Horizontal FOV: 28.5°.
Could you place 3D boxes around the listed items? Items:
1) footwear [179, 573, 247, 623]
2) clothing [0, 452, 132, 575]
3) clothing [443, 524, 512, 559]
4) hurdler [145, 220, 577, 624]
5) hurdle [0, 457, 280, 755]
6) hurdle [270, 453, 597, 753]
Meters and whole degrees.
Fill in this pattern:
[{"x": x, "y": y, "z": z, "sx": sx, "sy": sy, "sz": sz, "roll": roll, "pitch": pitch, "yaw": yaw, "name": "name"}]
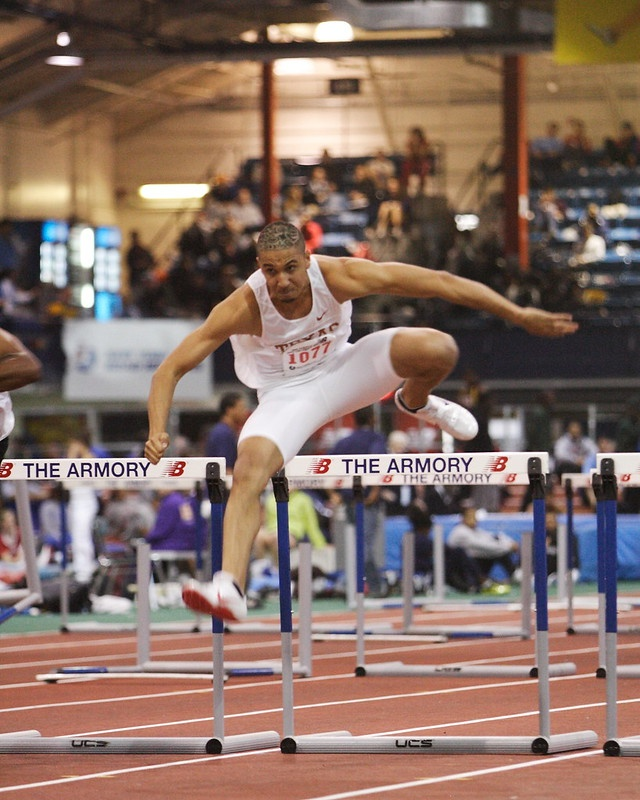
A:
[{"x": -0.344, "y": 0.643, "z": 4.151, "sx": 0.208, "sy": 0.148, "sz": 0.231, "roll": 3, "pitch": -12, "yaw": -6, "name": "footwear"}, {"x": -1.813, "y": 0.893, "z": 9.245, "sx": 1.617, "sy": 0.864, "sz": 0.159, "roll": 0, "pitch": 5, "yaw": 12, "name": "clothing"}, {"x": 1.477, "y": 1.287, "z": 11.558, "sx": 0.521, "sy": 0.204, "sz": 0.336, "roll": 1, "pitch": -6, "yaw": -13, "name": "clothing"}, {"x": 0.042, "y": -0.152, "z": 4.753, "sx": 2.065, "sy": 1.112, "sz": 0.952, "roll": -24, "pitch": 34, "yaw": -36, "name": "hurdler"}, {"x": -1.004, "y": 1.162, "z": 7.080, "sx": 1.908, "sy": 1.299, "sz": 0.781, "roll": 1, "pitch": 2, "yaw": 9, "name": "hurdle"}, {"x": 0.345, "y": 0.670, "z": 4.055, "sx": 1.050, "sy": 0.956, "sz": 1.161, "roll": -1, "pitch": -9, "yaw": 4, "name": "hurdle"}]
